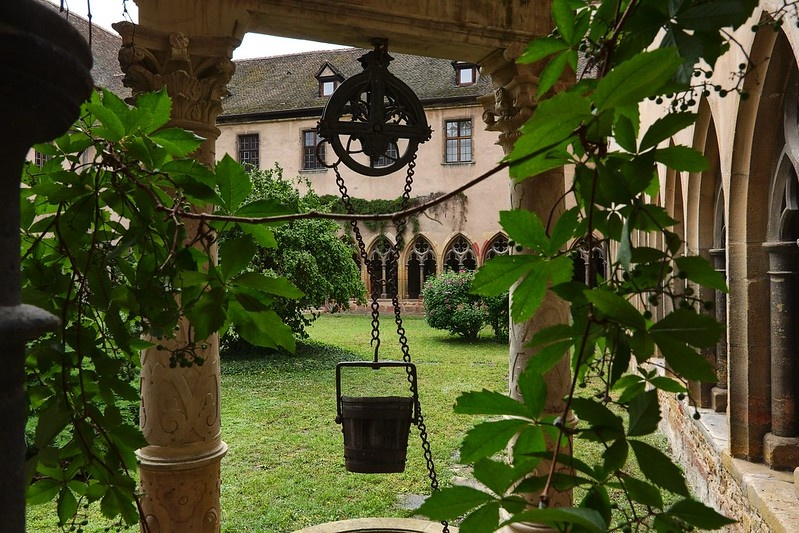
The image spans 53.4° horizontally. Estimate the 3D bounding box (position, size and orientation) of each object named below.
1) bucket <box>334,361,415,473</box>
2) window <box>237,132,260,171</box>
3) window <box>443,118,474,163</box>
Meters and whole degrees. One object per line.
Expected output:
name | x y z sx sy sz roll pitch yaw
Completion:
bucket | -0.113 0.704 3.743 0.421 0.511 0.304 -3 -15 12
window | -4.656 -3.658 24.510 0.720 0.093 1.216 -4 -32 -14
window | 1.670 -3.590 22.444 0.779 1.342 0.047 -2 -9 12
